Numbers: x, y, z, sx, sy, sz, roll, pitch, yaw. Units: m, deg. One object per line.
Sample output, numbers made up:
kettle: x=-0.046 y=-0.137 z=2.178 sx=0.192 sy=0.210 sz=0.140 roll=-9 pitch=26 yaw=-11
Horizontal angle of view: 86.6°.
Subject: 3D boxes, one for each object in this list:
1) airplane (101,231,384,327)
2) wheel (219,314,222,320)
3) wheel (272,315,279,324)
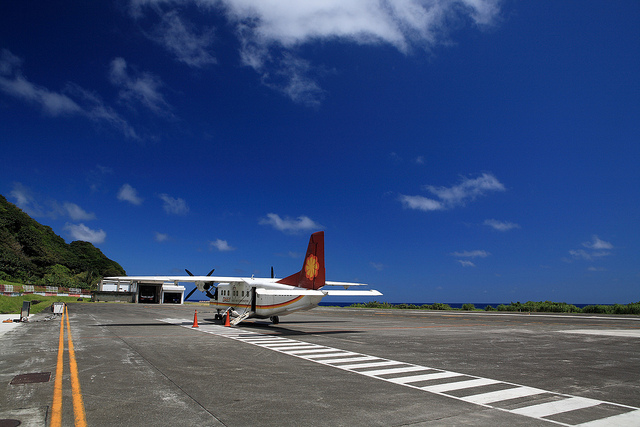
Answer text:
airplane: x=-5.032 y=5.509 z=27.829 sx=18.445 sy=7.248 sz=8.598 roll=-5 pitch=-16 yaw=20
wheel: x=-9.440 y=9.879 z=32.152 sx=0.128 sy=0.355 sz=0.279 roll=3 pitch=-18 yaw=-3
wheel: x=-3.917 y=9.353 z=29.736 sx=0.533 sy=0.632 sz=0.814 roll=4 pitch=-15 yaw=-11
